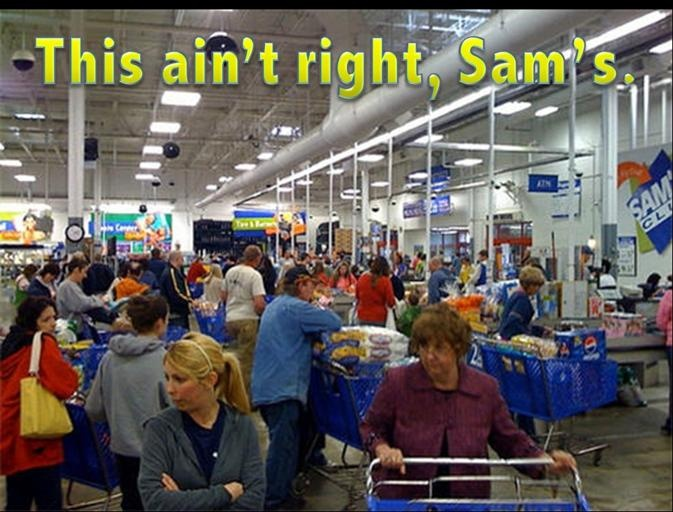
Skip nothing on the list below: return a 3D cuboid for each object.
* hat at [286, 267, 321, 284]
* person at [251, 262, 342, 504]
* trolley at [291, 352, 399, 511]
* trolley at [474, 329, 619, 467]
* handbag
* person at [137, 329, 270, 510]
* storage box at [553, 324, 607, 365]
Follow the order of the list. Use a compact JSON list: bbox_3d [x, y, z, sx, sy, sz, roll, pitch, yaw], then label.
[{"bbox_3d":[-0.266,0.159,4.448,0.192,0.104,0.126,-17,8,-14],"label":"hat"},{"bbox_3d":[-0.350,0.998,4.424,0.586,1.828,0.407,5,9,-9],"label":"person"},{"bbox_3d":[-0.116,1.344,4.709,0.950,1.238,0.994,8,-5,-16],"label":"trolley"},{"bbox_3d":[1.762,1.228,5.034,1.151,1.109,0.745,2,-2,-21],"label":"trolley"},{"bbox_3d":[-1.785,0.920,3.577,0.337,0.419,0.178,5,-26,-43],"label":"handbag"},{"bbox_3d":[-0.647,0.827,2.918,0.605,0.808,0.413,4,9,-17],"label":"person"},{"bbox_3d":[2.183,0.808,5.141,0.213,0.281,0.408,-7,-14,-6],"label":"storage box"}]
